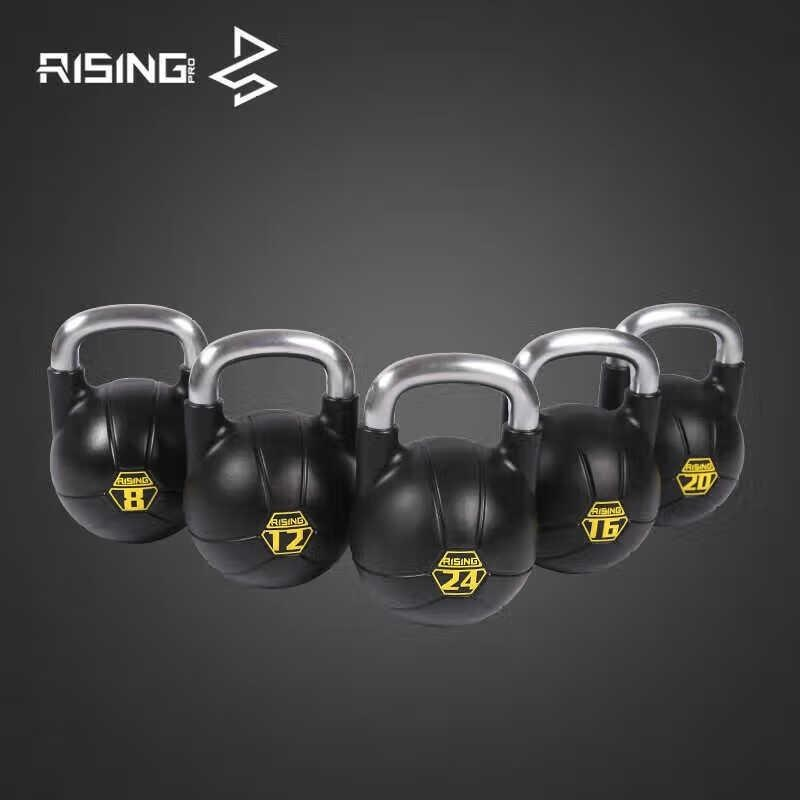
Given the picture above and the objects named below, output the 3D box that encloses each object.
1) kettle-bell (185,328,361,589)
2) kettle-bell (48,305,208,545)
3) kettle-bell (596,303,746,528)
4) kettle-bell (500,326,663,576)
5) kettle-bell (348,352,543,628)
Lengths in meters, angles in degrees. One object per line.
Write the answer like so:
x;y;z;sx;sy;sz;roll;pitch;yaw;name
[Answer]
-0.145;0.068;0.943;0.213;0.198;0.296;-4;-78;-24;kettle-bell
-0.344;0.030;1.052;0.211;0.187;0.300;1;-69;-12;kettle-bell
0.363;0.023;1.131;0.224;0.174;0.315;-3;-70;-14;kettle-bell
0.216;0.058;0.971;0.201;0.175;0.279;-5;-64;-4;kettle-bell
0.051;0.094;0.887;0.209;0.187;0.290;-1;-69;-10;kettle-bell
